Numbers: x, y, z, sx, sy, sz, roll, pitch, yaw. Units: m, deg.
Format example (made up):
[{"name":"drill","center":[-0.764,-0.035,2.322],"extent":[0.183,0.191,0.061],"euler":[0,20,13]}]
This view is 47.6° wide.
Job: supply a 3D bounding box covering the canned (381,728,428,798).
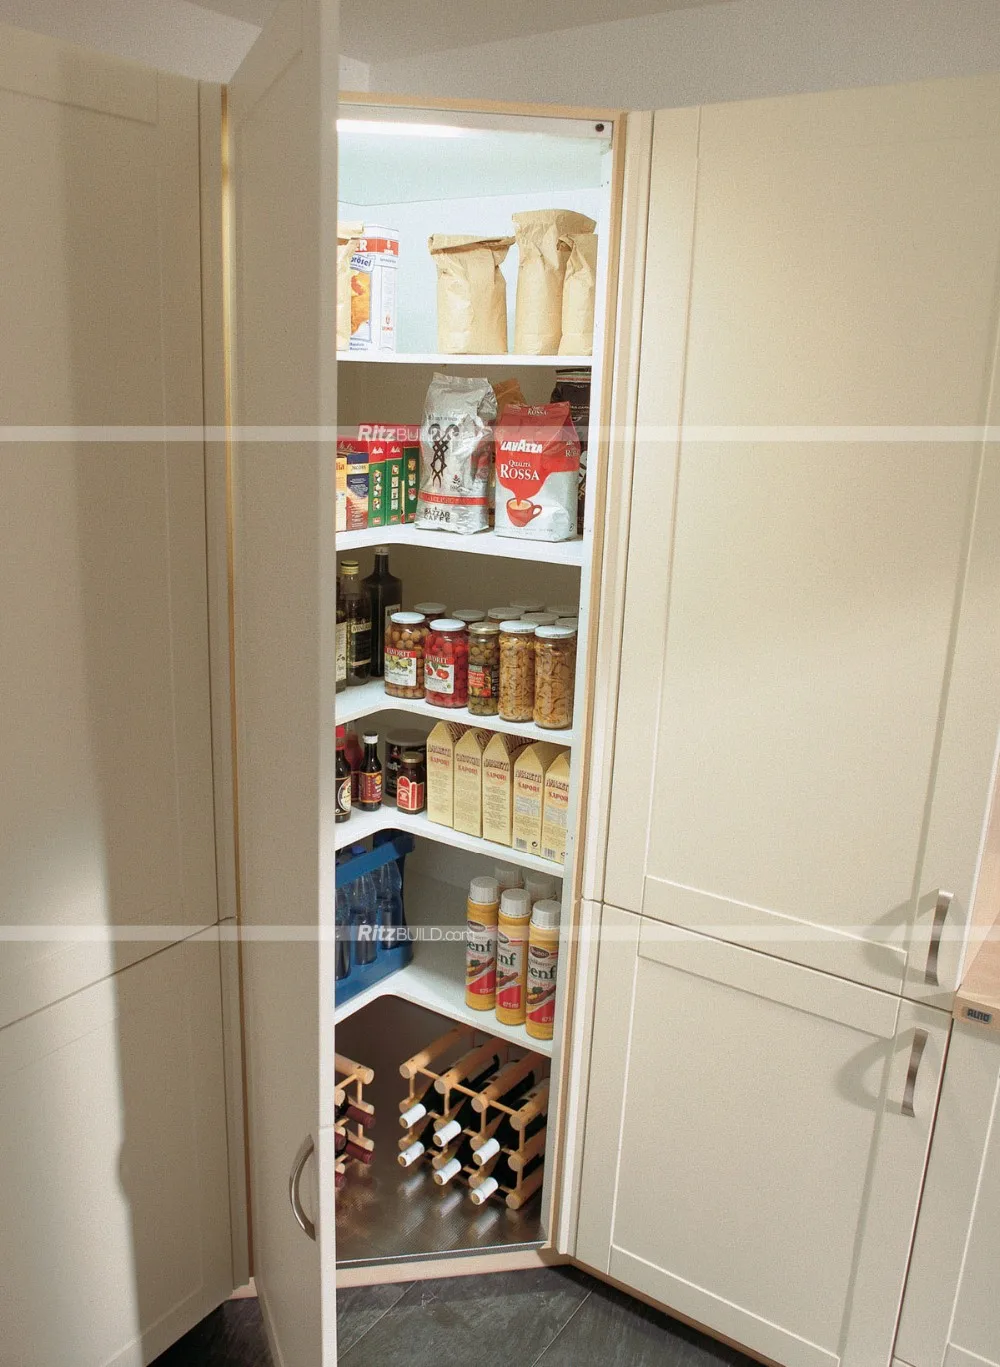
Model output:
[{"name":"canned","center":[-0.177,0.150,2.124],"extent":[0.079,0.126,0.076],"euler":[22,32,39]}]
